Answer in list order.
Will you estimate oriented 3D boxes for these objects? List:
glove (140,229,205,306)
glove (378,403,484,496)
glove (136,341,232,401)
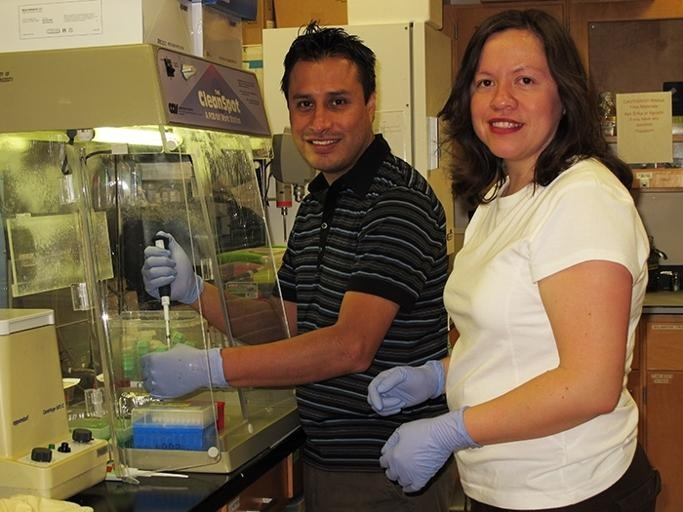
[{"bbox_3d":[-0.479,0.056,1.627,0.151,0.143,0.114,-8,-8,34],"label":"glove"},{"bbox_3d":[0.222,0.450,1.492,0.269,0.161,0.115,-41,-14,31],"label":"glove"},{"bbox_3d":[-0.401,0.286,1.604,0.221,0.083,0.154,-9,47,-3],"label":"glove"}]
